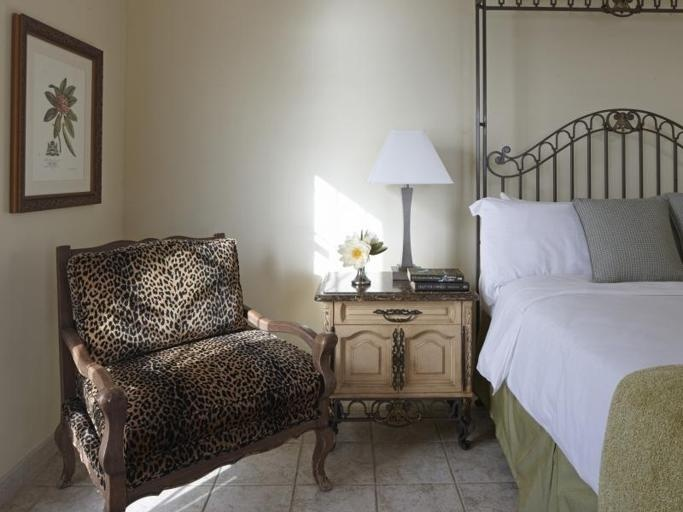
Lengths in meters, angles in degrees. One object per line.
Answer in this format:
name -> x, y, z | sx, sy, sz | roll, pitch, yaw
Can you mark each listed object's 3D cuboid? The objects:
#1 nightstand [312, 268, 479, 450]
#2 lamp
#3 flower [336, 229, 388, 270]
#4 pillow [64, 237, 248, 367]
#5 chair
nightstand -> 0.334, 0.594, 3.185 | 0.753, 0.847, 0.637 | -2, 7, 3
lamp -> 0.411, -0.322, 3.212 | 0.461, 0.824, 0.450 | 3, 12, 12
flower -> 0.134, -0.049, 3.138 | 0.236, 0.220, 0.422 | 3, 13, 11
pillow -> -0.866, 0.200, 2.655 | 0.792, 0.543, 0.263 | -8, 4, -35
chair -> -0.638, 0.511, 2.778 | 1.304, 1.625, 1.072 | -3, 1, -39
